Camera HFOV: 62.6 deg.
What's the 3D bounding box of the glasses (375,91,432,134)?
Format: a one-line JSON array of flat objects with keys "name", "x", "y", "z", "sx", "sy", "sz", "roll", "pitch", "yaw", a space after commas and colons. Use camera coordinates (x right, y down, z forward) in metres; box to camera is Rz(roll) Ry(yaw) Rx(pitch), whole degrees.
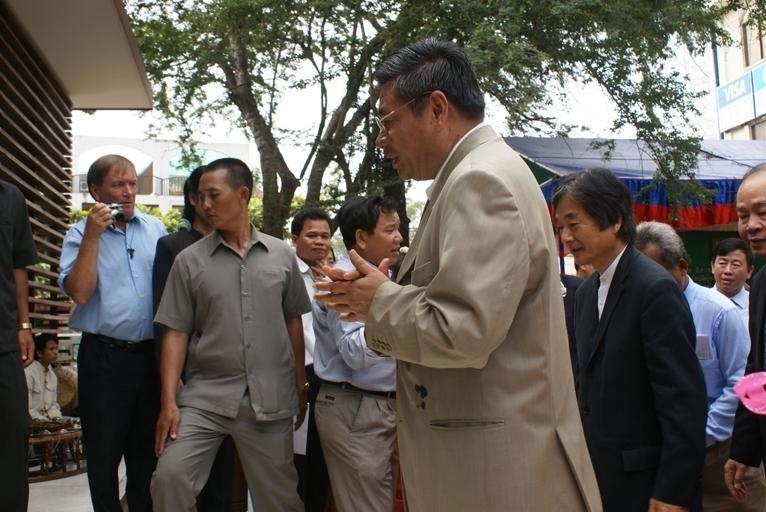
[{"name": "glasses", "x": 0.104, "y": -0.705, "z": 3.202, "sx": 0.231, "sy": 0.068, "sz": 0.178, "roll": -31, "pitch": -1, "yaw": 5}]
